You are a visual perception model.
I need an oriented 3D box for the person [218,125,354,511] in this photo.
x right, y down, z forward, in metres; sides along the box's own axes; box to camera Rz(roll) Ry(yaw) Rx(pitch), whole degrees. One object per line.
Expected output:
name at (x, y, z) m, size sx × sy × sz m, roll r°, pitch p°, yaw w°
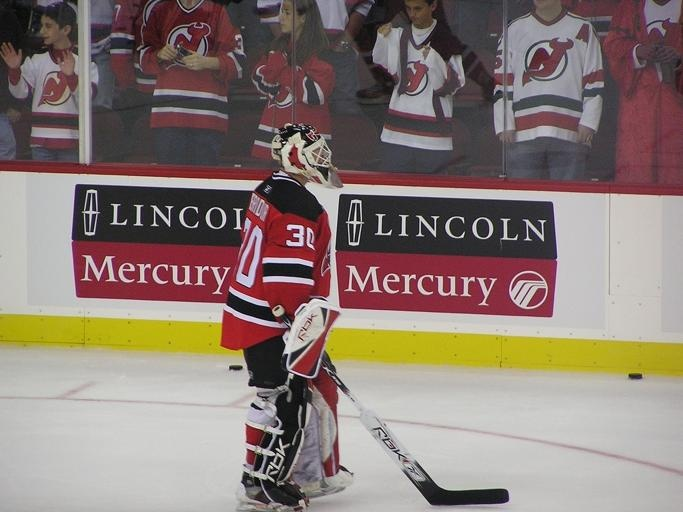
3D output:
person at (-0.317, 0.356, 6.202) m, size 0.741 × 2.261 × 0.369 m, roll 1°, pitch 2°, yaw -7°

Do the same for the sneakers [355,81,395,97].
sneakers at (0.281, -1.348, 8.580) m, size 0.294 × 0.127 × 0.107 m, roll 1°, pitch 6°, yaw 1°

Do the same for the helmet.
helmet at (-0.195, -0.580, 6.402) m, size 0.423 × 0.316 × 0.318 m, roll 21°, pitch 1°, yaw 2°
